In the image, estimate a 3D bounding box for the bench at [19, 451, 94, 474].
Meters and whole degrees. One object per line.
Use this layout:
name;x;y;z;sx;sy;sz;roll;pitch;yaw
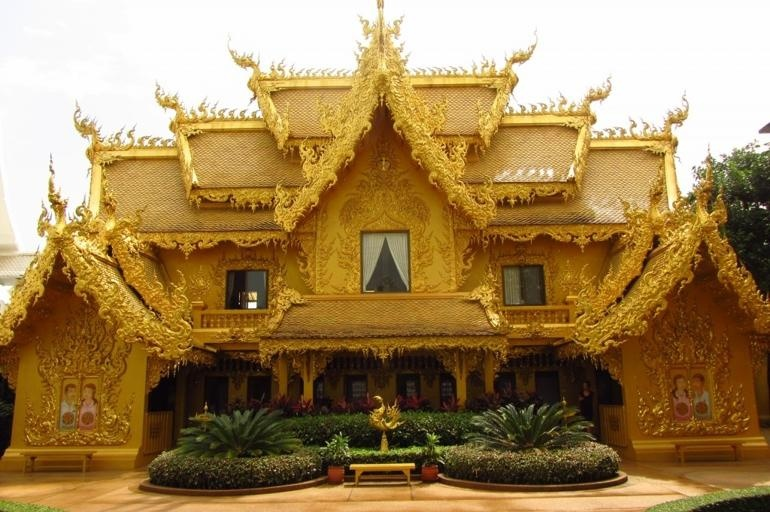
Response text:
bench;-7.145;4.466;15.434;1.588;0.445;0.315;-1;-16;5

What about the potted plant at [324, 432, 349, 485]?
potted plant;-0.942;3.990;13.907;0.539;0.889;0.529;1;-16;-4

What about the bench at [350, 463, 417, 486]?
bench;-0.061;4.138;13.440;1.172;0.400;1.084;1;-15;-2

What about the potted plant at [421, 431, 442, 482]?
potted plant;0.925;3.944;13.791;0.301;0.881;0.482;-15;-22;43
